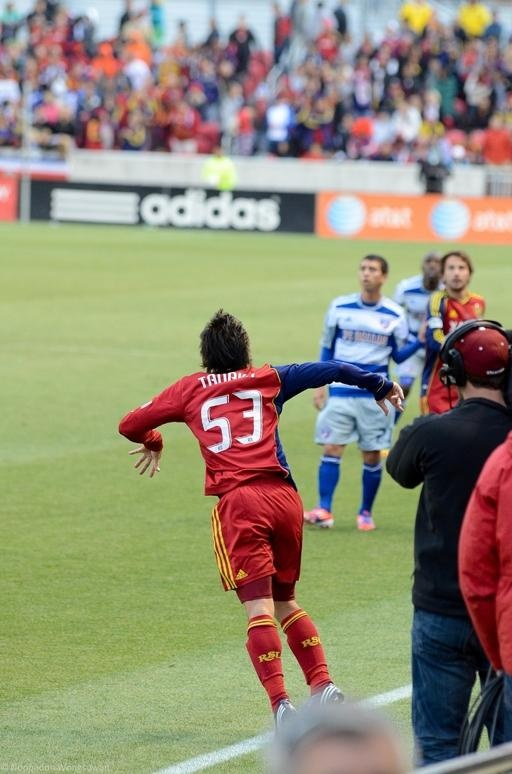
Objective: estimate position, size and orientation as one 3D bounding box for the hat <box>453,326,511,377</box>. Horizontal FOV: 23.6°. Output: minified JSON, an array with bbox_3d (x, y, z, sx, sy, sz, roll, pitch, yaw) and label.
[{"bbox_3d":[0.708,-0.106,3.805,0.133,0.096,0.166,0,34,3],"label":"hat"}]

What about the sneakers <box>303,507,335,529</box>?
[{"bbox_3d":[0.405,0.837,7.755,0.241,0.108,0.081,20,-37,-13],"label":"sneakers"}]

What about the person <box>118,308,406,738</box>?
[{"bbox_3d":[0.072,0.422,4.765,0.759,1.382,1.028,-9,15,-39],"label":"person"}]
